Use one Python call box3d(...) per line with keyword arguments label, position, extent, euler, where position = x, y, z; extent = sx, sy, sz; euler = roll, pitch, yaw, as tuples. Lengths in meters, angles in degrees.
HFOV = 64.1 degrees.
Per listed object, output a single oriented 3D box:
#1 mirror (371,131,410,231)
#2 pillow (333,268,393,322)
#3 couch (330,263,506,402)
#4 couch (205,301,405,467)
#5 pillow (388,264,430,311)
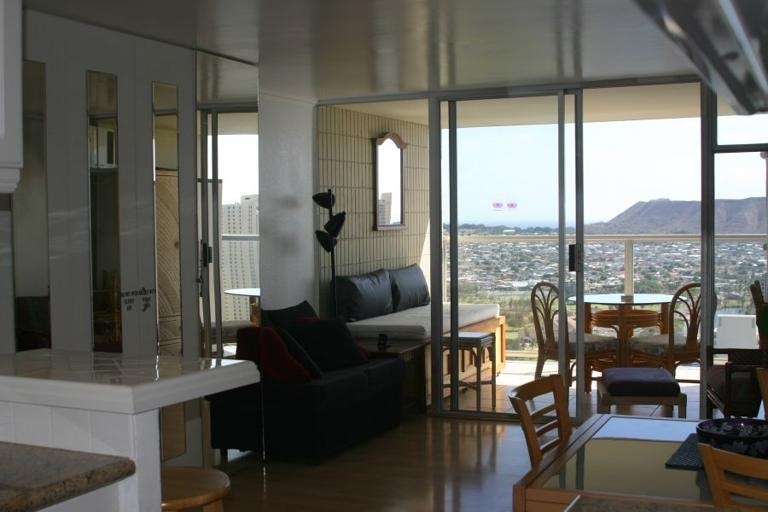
box3d(label="mirror", position=(0.043, -0.685, 5.625), extent=(0.289, 0.888, 0.178), euler=(0, 4, 0))
box3d(label="pillow", position=(-0.218, 0.372, 5.548), extent=(0.480, 0.316, 0.160), euler=(-6, 2, -18))
box3d(label="couch", position=(0.417, 0.349, 5.872), extent=(1.051, 1.304, 1.848), euler=(-2, -2, 28))
box3d(label="couch", position=(-0.560, 1.023, 4.569), extent=(1.013, 1.006, 1.423), euler=(-2, -2, 24))
box3d(label="pillow", position=(0.216, 0.287, 5.480), extent=(0.408, 0.389, 0.171), euler=(-8, -4, -2))
